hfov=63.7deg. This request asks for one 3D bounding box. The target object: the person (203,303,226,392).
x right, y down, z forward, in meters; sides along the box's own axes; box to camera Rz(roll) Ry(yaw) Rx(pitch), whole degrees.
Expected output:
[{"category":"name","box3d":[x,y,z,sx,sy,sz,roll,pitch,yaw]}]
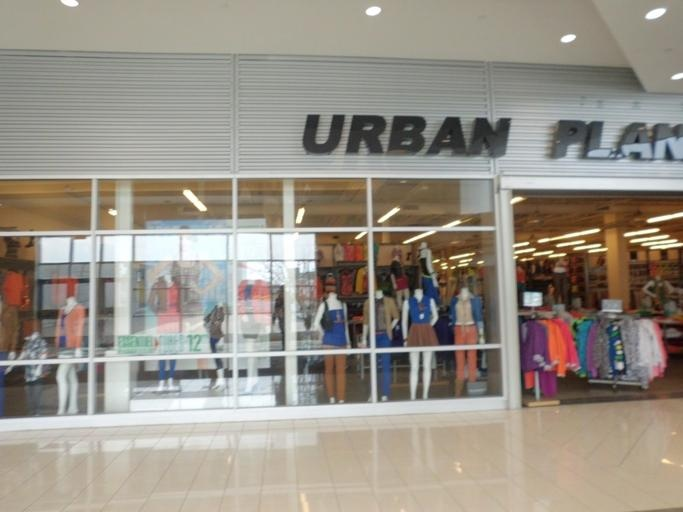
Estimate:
[{"category":"person","box3d":[-1.795,1.300,7.829,0.306,1.192,0.200,-2,5,-11]}]

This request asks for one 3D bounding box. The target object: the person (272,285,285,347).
[{"category":"person","box3d":[-0.907,0.886,7.919,0.195,0.871,0.168,-2,5,-5]}]

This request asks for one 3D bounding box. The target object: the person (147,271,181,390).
[{"category":"person","box3d":[-2.500,1.060,7.798,0.408,1.682,0.300,-2,5,-14]}]

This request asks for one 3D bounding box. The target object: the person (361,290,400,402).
[{"category":"person","box3d":[0.566,1.292,8.015,0.544,1.586,0.290,-1,5,3]}]

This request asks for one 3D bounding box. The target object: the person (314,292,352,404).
[{"category":"person","box3d":[-0.131,1.320,7.951,0.499,1.562,0.237,-1,5,-4]}]

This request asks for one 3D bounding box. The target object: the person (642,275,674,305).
[{"category":"person","box3d":[8.254,0.891,14.133,0.620,0.738,0.877,-2,5,-10]}]

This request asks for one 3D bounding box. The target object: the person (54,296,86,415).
[{"category":"person","box3d":[-3.814,1.390,7.723,0.380,1.612,0.277,-2,5,-13]}]

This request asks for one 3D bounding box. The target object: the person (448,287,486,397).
[{"category":"person","box3d":[1.894,1.264,8.178,0.480,1.580,0.258,-2,5,-7]}]
